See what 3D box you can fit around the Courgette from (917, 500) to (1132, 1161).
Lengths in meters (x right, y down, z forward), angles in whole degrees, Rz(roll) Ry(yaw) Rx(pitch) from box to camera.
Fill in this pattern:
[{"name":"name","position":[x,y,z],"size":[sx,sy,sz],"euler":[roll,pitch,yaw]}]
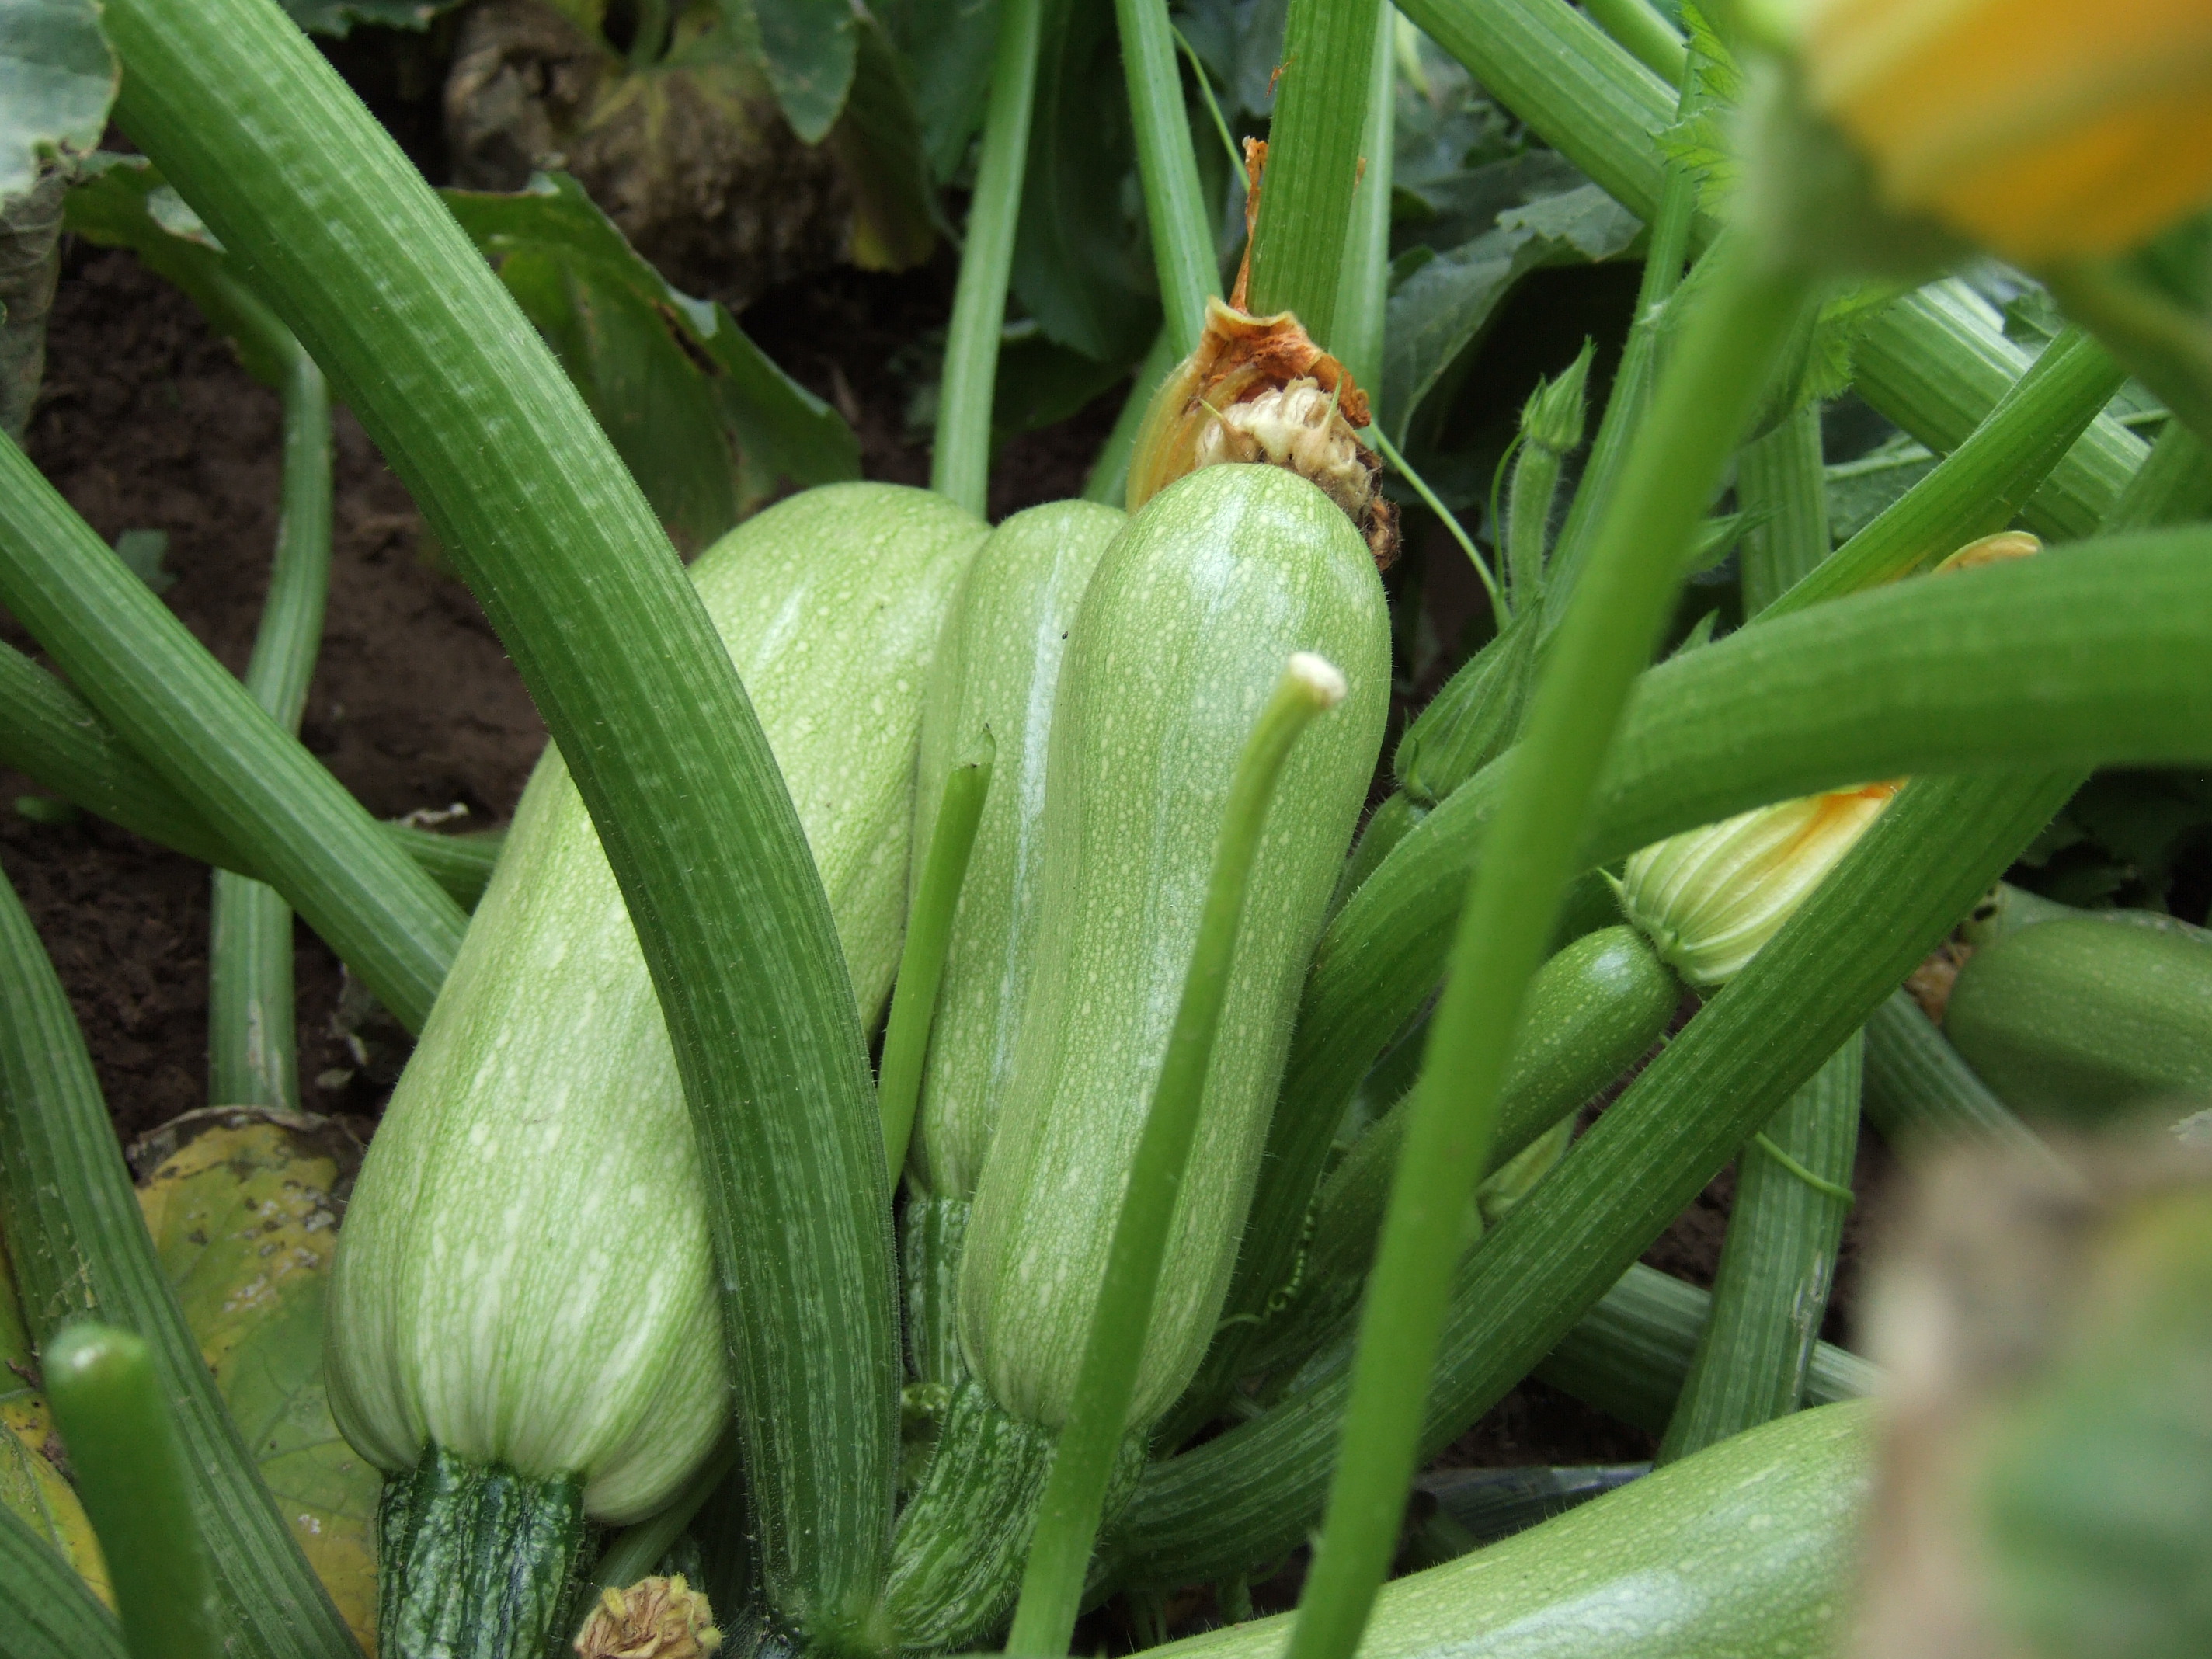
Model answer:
[{"name":"Courgette","position":[-0.066,-0.013,1.692],"size":[0.116,0.140,0.503],"euler":[13,74,-2]}]

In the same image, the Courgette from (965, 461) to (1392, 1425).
[{"name":"Courgette","position":[0.046,0.060,1.578],"size":[0.173,0.750,0.189],"euler":[14,-9,18]}]
